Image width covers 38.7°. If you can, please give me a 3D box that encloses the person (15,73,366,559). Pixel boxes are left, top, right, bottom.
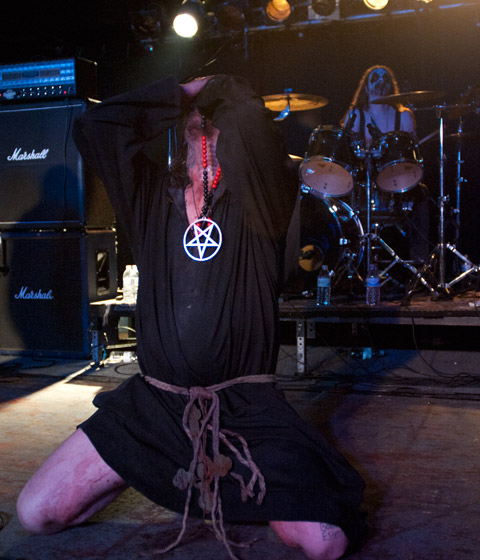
[{"bbox_3d":[-0.139,0.106,2.074,0.995,1.426,0.390,-1,6,8],"label":"person"}]

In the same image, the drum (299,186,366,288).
[{"bbox_3d":[0.678,-0.307,5.240,0.645,0.667,0.676,5,4,31],"label":"drum"}]

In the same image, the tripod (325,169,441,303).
[{"bbox_3d":[1.144,-0.347,5.319,0.913,1.277,0.979,-1,6,-1],"label":"tripod"}]

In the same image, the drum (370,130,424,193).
[{"bbox_3d":[1.142,-0.832,4.886,0.328,0.405,0.466,-1,5,9],"label":"drum"}]
